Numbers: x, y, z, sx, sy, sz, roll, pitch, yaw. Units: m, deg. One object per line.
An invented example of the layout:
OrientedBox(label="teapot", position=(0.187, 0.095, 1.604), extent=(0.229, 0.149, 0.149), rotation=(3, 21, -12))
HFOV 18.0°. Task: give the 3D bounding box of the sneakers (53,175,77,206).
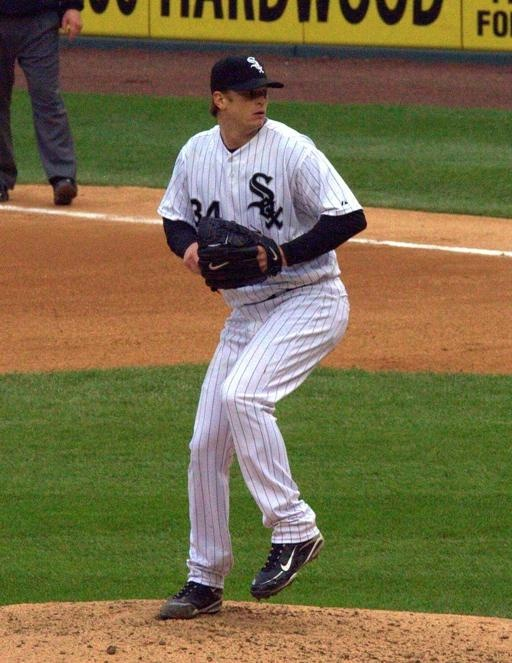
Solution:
OrientedBox(label="sneakers", position=(-1.303, -0.939, 10.855), extent=(0.089, 0.135, 0.280), rotation=(2, -23, -6))

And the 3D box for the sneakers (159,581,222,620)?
OrientedBox(label="sneakers", position=(-0.287, 1.205, 7.168), extent=(0.327, 0.168, 0.113), rotation=(-2, 3, -32))

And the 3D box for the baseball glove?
OrientedBox(label="baseball glove", position=(-0.101, -0.320, 6.861), extent=(0.321, 0.275, 0.164), rotation=(2, 11, 35))

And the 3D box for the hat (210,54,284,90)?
OrientedBox(label="hat", position=(-0.070, -1.087, 6.988), extent=(0.228, 0.131, 0.153), rotation=(-8, 0, 31))

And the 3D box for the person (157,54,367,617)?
OrientedBox(label="person", position=(0.015, 0.055, 7.002), extent=(0.888, 2.449, 0.673), rotation=(1, 10, 8))
